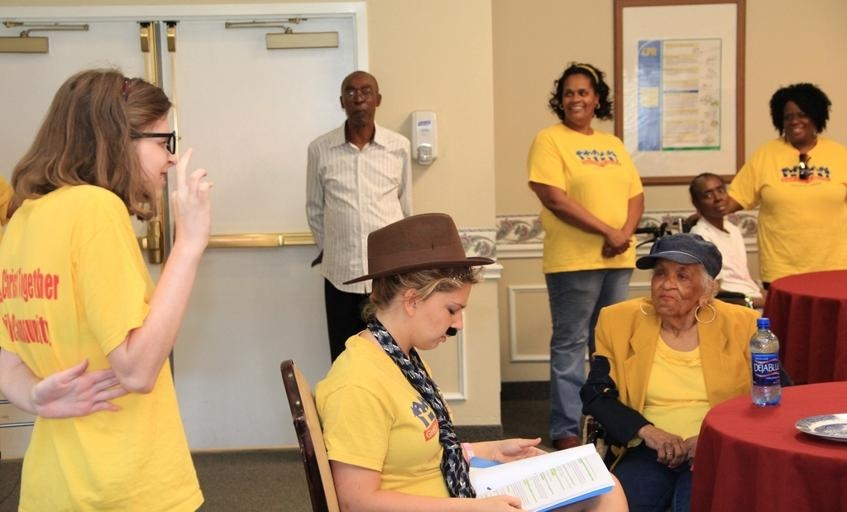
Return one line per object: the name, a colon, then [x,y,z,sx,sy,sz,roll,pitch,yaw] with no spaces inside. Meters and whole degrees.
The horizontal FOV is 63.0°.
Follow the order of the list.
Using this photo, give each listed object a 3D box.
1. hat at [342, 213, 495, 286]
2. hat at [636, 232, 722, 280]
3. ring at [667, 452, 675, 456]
hat: [-0.044,-0.004,2.607,0.369,0.119,0.319,-13,-1,3]
hat: [1.229,-0.017,3.268,0.323,0.108,0.233,9,-10,-14]
ring: [1.090,0.867,3.021,0.020,0.005,0.021,-4,-3,0]
